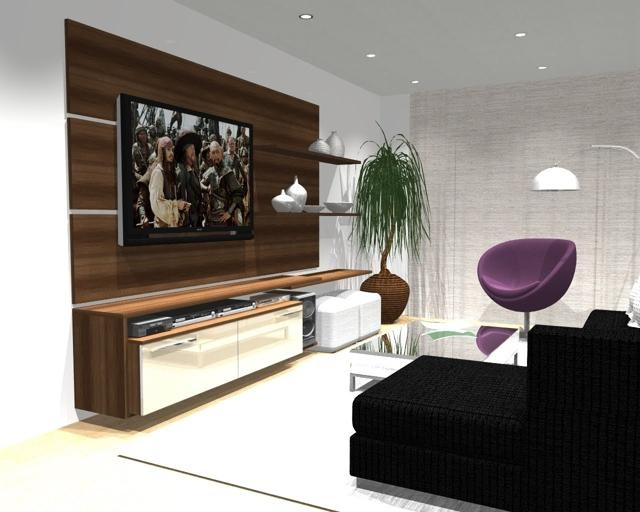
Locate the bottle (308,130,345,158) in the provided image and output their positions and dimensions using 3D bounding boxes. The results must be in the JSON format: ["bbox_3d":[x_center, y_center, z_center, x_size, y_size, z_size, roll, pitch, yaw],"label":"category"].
[{"bbox_3d":[0.067,-1.207,5.215,0.265,0.248,0.489,-2,-4,44],"label":"bottle"}]

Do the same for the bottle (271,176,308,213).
[{"bbox_3d":[-0.352,-0.610,4.722,0.248,0.370,0.411,0,4,25],"label":"bottle"}]

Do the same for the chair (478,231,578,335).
[{"bbox_3d":[2.309,0.369,5.350,1.061,0.975,0.951,-1,10,27],"label":"chair"}]

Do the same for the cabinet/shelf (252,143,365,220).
[{"bbox_3d":[-0.121,-0.783,5.172,0.383,0.605,1.576,2,4,35],"label":"cabinet/shelf"}]

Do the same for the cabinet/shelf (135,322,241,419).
[{"bbox_3d":[-0.922,0.734,3.181,0.577,0.423,1.002,-1,1,27],"label":"cabinet/shelf"}]

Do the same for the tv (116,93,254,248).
[{"bbox_3d":[-1.109,-0.648,3.603,0.088,0.933,1.580,3,4,33],"label":"tv"}]
